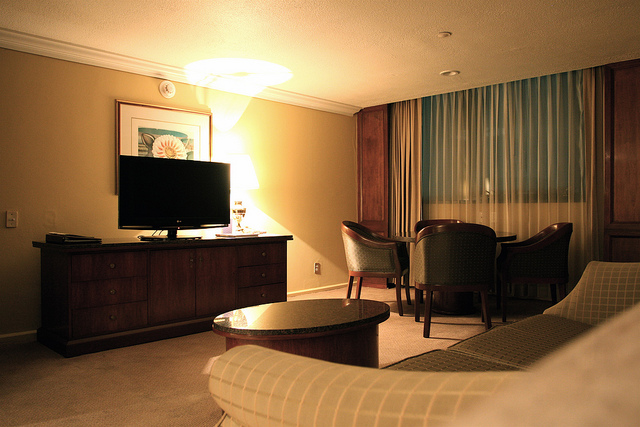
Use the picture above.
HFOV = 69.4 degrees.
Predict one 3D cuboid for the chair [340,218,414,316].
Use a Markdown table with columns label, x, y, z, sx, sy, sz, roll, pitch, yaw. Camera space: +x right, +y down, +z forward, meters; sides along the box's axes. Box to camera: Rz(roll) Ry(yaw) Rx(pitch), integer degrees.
| label | x | y | z | sx | sy | sz | roll | pitch | yaw |
| --- | --- | --- | --- | --- | --- | --- | --- | --- | --- |
| chair | 0.646 | 0.607 | 5.551 | 0.787 | 1.020 | 0.822 | -1 | 2 | 22 |

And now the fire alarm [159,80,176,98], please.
| label | x | y | z | sx | sy | sz | roll | pitch | yaw |
| --- | --- | --- | --- | --- | --- | --- | --- | --- | --- |
| fire alarm | -1.729 | -1.422 | 5.221 | 0.186 | 0.200 | 0.045 | -6 | 10 | -37 |

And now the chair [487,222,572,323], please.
| label | x | y | z | sx | sy | sz | roll | pitch | yaw |
| --- | --- | --- | --- | --- | --- | --- | --- | --- | --- |
| chair | 2.252 | 0.677 | 5.356 | 1.098 | 1.419 | 1.102 | 0 | -3 | 25 |

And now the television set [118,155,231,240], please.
| label | x | y | z | sx | sy | sz | roll | pitch | yaw |
| --- | --- | --- | --- | --- | --- | --- | --- | --- | --- |
| television set | -1.491 | -0.162 | 4.761 | 1.141 | 0.824 | 0.311 | 0 | 7 | -36 |

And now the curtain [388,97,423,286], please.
| label | x | y | z | sx | sy | sz | roll | pitch | yaw |
| --- | --- | --- | --- | --- | --- | --- | --- | --- | --- |
| curtain | 1.190 | -0.301 | 6.833 | 0.333 | 2.726 | 0.598 | 3 | 3 | 23 |

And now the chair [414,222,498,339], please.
| label | x | y | z | sx | sy | sz | roll | pitch | yaw |
| --- | --- | --- | --- | --- | --- | --- | --- | --- | --- |
| chair | 1.334 | 0.646 | 4.606 | 0.857 | 1.115 | 0.813 | 2 | 1 | 2 |
